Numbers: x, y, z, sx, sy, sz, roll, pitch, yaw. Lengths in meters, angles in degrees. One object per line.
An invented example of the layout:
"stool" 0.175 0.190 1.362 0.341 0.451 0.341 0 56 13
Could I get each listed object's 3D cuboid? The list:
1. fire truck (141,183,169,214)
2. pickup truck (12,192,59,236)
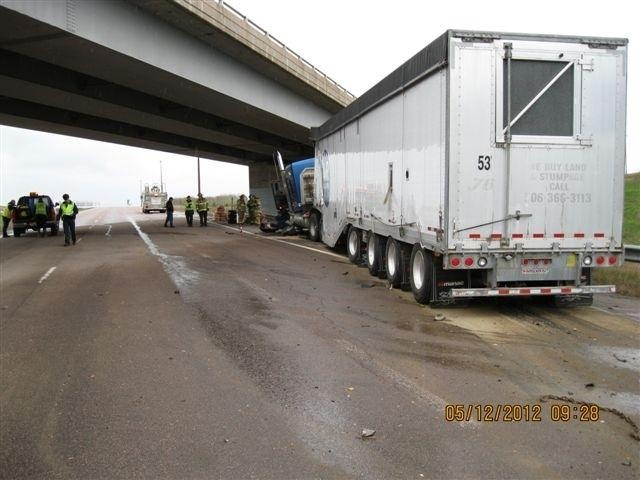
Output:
"fire truck" -21.994 -5.334 65.267 2.306 3.637 5.029 -5 10 -31
"pickup truck" -17.245 -1.554 29.939 2.227 2.970 4.377 -3 -3 -28
